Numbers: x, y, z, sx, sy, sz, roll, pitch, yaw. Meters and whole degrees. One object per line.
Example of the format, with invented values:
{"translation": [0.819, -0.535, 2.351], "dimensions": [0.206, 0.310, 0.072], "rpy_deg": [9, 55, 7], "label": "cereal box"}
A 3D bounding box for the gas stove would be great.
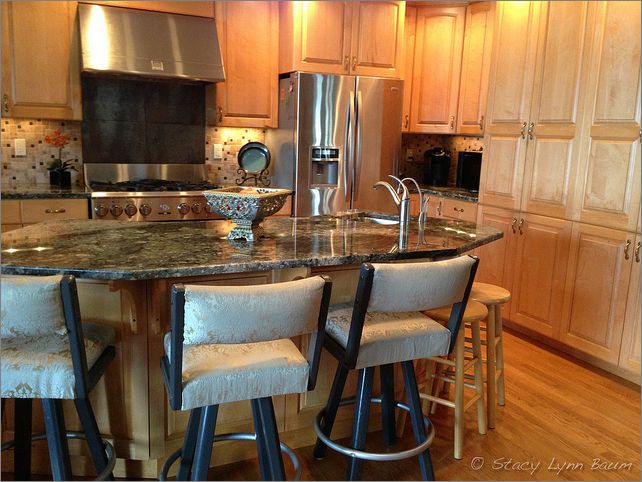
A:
{"translation": [-1.390, -0.341, 4.147], "dimensions": [0.988, 0.261, 0.532], "rpy_deg": [-4, 15, -25], "label": "gas stove"}

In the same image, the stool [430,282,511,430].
{"translation": [0.883, 0.686, 2.972], "dimensions": [0.480, 0.694, 0.509], "rpy_deg": [-2, 9, -5], "label": "stool"}

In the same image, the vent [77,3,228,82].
{"translation": [-1.406, -1.635, 4.052], "dimensions": [0.721, 0.352, 0.160], "rpy_deg": [-2, -9, -25], "label": "vent"}

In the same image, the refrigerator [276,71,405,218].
{"translation": [0.270, -0.837, 4.798], "dimensions": [0.933, 1.564, 0.574], "rpy_deg": [-1, 30, -3], "label": "refrigerator"}

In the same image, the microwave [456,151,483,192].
{"translation": [1.505, -0.706, 5.023], "dimensions": [0.283, 0.366, 0.254], "rpy_deg": [4, 5, 4], "label": "microwave"}

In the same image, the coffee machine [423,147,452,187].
{"translation": [1.256, -0.827, 5.460], "dimensions": [0.211, 0.400, 0.478], "rpy_deg": [-2, 14, -15], "label": "coffee machine"}

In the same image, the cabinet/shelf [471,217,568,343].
{"translation": [1.749, 0.211, 4.193], "dimensions": [0.322, 0.998, 0.974], "rpy_deg": [-10, 18, -25], "label": "cabinet/shelf"}

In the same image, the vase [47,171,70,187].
{"translation": [-2.214, -0.527, 4.177], "dimensions": [0.144, 0.105, 0.078], "rpy_deg": [1, 8, -8], "label": "vase"}

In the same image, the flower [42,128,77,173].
{"translation": [-2.213, -0.765, 4.191], "dimensions": [0.214, 0.341, 0.260], "rpy_deg": [-5, 16, -28], "label": "flower"}

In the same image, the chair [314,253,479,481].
{"translation": [0.298, 0.600, 2.264], "dimensions": [0.634, 1.180, 0.468], "rpy_deg": [-2, 15, -16], "label": "chair"}

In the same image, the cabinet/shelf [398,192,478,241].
{"translation": [0.864, -0.187, 3.541], "dimensions": [0.152, 0.400, 0.424], "rpy_deg": [-12, 20, -35], "label": "cabinet/shelf"}
